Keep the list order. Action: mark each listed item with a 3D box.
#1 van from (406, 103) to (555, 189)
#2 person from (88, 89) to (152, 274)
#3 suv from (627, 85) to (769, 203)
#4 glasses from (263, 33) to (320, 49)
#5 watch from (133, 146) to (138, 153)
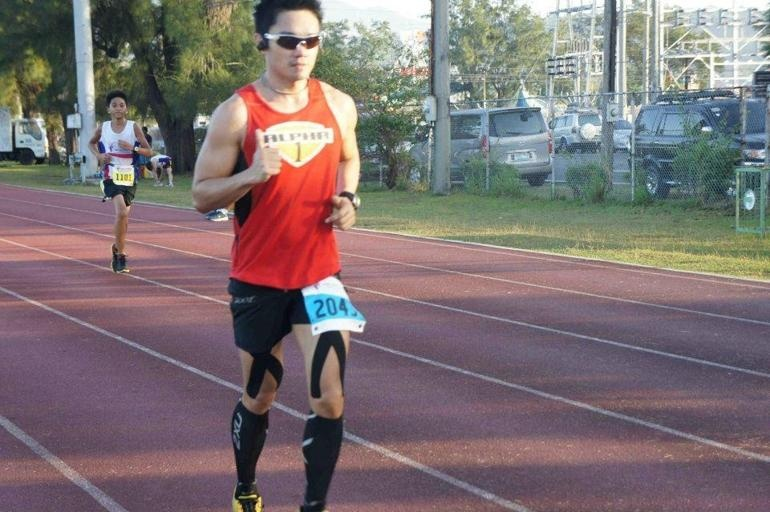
[{"bbox_3d":[2.512,-3.097,24.672,5.015,2.278,4.451,2,8,17],"label":"van"},{"bbox_3d":[-3.934,-1.045,12.410,0.684,2.659,1.090,-6,9,-40],"label":"person"},{"bbox_3d":[7.503,-2.705,19.710,2.067,2.222,3.556,-5,3,-23],"label":"suv"},{"bbox_3d":[-0.682,-1.510,5.999,0.411,0.123,0.124,-2,8,-10],"label":"glasses"},{"bbox_3d":[-3.676,-1.534,12.225,0.045,0.065,0.021,4,3,8],"label":"watch"}]
